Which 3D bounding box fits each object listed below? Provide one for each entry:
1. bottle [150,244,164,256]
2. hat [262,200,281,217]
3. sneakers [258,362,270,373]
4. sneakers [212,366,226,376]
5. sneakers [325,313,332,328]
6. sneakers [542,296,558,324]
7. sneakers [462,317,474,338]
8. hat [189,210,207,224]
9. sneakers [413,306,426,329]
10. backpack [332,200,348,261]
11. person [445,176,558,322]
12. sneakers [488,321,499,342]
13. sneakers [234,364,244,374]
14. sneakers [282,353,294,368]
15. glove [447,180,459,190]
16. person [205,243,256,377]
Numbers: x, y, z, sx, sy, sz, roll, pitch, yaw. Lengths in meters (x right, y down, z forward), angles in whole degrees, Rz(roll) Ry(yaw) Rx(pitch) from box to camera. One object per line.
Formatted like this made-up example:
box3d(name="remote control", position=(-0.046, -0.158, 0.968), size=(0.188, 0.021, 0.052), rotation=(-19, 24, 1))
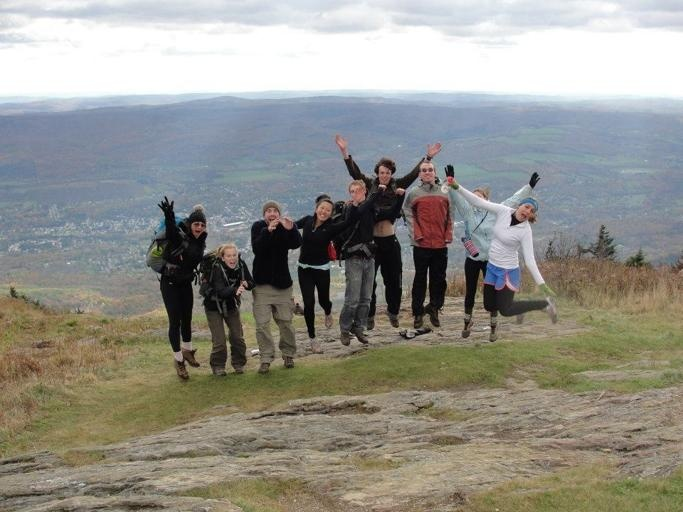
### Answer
box3d(name="bottle", position=(-3.132, -0.100, 12.064), size=(0.237, 0.183, 0.110), rotation=(-4, 3, -12))
box3d(name="hat", position=(-1.216, -0.772, 12.229), size=(0.264, 0.274, 0.307), rotation=(3, -21, -10))
box3d(name="sneakers", position=(-1.372, 1.973, 12.656), size=(0.200, 0.177, 0.198), rotation=(1, 3, -14))
box3d(name="sneakers", position=(-2.194, 2.055, 12.726), size=(0.200, 0.147, 0.144), rotation=(-8, -3, 16))
box3d(name="sneakers", position=(-0.279, 1.297, 14.329), size=(0.160, 0.293, 0.127), rotation=(-5, -4, 4))
box3d(name="sneakers", position=(3.655, 1.000, 12.660), size=(0.208, 0.542, 0.268), rotation=(-11, 13, 33))
box3d(name="sneakers", position=(2.373, 1.322, 13.566), size=(0.184, 0.206, 0.493), rotation=(0, 41, 29))
box3d(name="hat", position=(-2.456, -0.672, 12.109), size=(0.295, 0.295, 0.392), rotation=(-5, 3, -14))
box3d(name="sneakers", position=(1.470, 1.201, 14.094), size=(0.188, 0.484, 0.234), rotation=(16, 17, 38))
box3d(name="backpack", position=(-0.020, -0.449, 12.655), size=(0.300, 1.056, 0.586), rotation=(-4, 3, -1))
box3d(name="person", position=(2.886, -0.064, 12.349), size=(1.535, 2.323, 0.757), rotation=(-2, 4, 29))
box3d(name="sneakers", position=(2.819, 1.392, 13.241), size=(0.157, 0.381, 0.256), rotation=(4, -13, 22))
box3d(name="sneakers", position=(-1.834, 2.044, 12.882), size=(0.149, 0.139, 0.152), rotation=(-4, -5, 33))
box3d(name="sneakers", position=(-0.972, 1.925, 12.968), size=(0.124, 0.211, 0.317), rotation=(-1, -23, -10))
box3d(name="glove", position=(1.973, -1.269, 12.690), size=(0.196, 0.135, 0.200), rotation=(-8, 1, 43))
box3d(name="person", position=(-1.998, 0.946, 12.538), size=(0.909, 2.343, 1.107), rotation=(-5, 3, -10))
